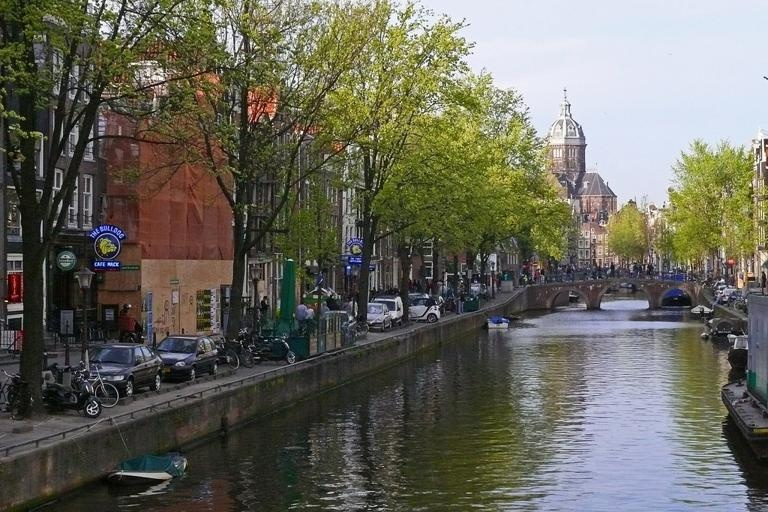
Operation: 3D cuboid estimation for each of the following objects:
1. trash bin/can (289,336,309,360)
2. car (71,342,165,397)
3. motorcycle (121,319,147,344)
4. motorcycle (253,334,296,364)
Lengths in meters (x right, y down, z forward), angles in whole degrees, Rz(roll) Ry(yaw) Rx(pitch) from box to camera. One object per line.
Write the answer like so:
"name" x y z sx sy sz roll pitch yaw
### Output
"trash bin/can" -3.872 4.154 51.388 0.948 1.253 1.276 -1 3 0
"car" -9.372 4.212 41.615 2.155 1.994 4.374 0 -3 3
"motorcycle" -12.540 3.808 56.830 1.151 0.920 2.850 1 2 -13
"motorcycle" -4.870 4.190 50.736 1.792 1.166 1.005 1 2 -5
